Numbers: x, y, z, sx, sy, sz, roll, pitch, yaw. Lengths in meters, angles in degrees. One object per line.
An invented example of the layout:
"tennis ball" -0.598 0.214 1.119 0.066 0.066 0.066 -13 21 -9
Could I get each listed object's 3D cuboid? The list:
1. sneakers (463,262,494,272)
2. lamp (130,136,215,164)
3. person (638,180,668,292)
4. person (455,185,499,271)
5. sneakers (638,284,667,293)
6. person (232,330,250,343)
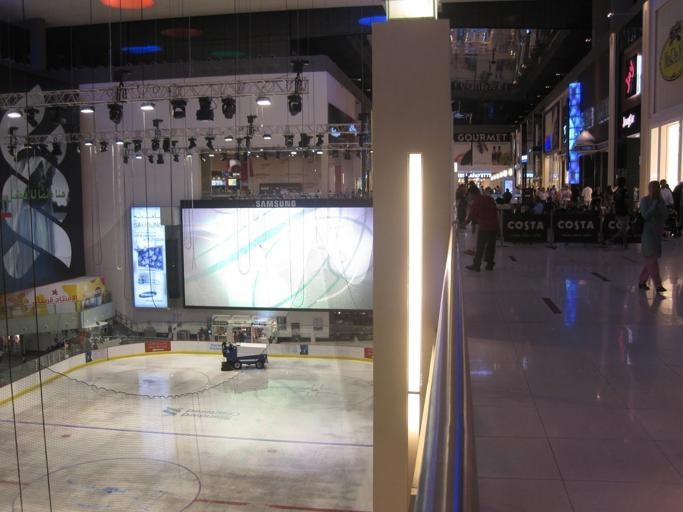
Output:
"sneakers" 2.685 0.208 12.968 0.532 0.256 0.192 5 6 4
"lamp" -6.534 -3.873 24.642 4.729 0.997 1.934 8 17 35
"person" 4.987 -0.295 10.616 0.426 1.751 0.493 -1 13 5
"person" 2.789 -0.503 13.241 0.593 1.555 1.290 1 13 12
"sneakers" 5.045 0.511 10.803 0.415 0.196 0.145 3 14 21
"person" -3.838 2.972 25.309 0.703 0.748 0.403 0 -5 -1
